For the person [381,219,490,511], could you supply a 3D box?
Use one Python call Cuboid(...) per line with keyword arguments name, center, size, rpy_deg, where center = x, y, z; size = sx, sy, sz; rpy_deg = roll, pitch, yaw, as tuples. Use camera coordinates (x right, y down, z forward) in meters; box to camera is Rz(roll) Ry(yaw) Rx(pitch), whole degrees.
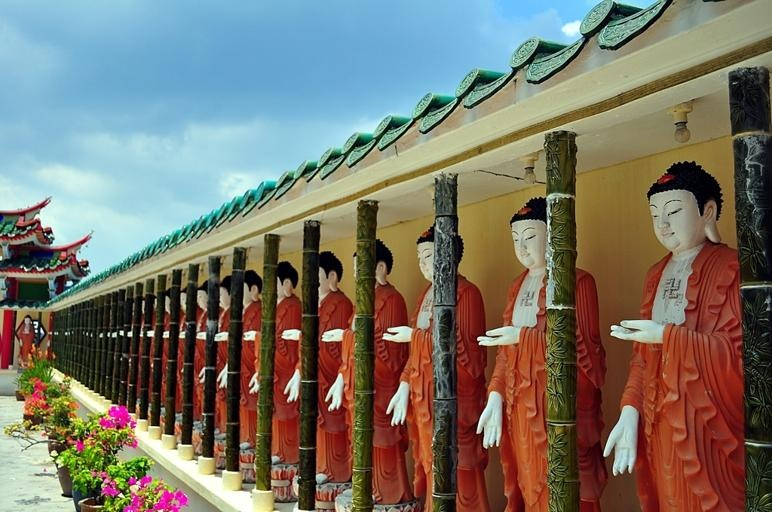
Cuboid(name="person", center=(0.486, 1.006, 7.930), size=(0.862, 2.691, 0.700), rpy_deg=(-3, -11, 24))
